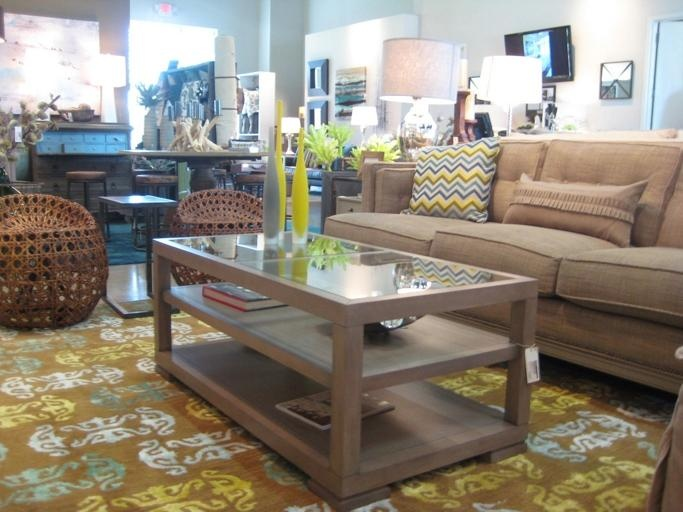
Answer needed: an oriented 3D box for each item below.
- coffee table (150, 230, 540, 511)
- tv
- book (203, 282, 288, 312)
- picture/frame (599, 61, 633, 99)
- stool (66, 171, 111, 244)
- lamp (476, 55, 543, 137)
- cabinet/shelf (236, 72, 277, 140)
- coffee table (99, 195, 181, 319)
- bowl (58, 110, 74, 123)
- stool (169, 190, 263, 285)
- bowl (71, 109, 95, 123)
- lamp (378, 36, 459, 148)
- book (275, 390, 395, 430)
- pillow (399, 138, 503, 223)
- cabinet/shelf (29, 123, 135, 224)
[{"bbox_3d":[0.010,0.015,1.662,0.864,0.496,1.403,-4,11,-32],"label":"coffee table"},{"bbox_3d":[2.470,-2.568,6.890,1.189,0.665,0.103,-15,21,-24],"label":"tv"},{"bbox_3d":[-0.410,0.160,2.086,0.181,0.029,0.175,-1,11,-43],"label":"book"},{"bbox_3d":[3.281,-2.076,6.386,0.093,0.457,0.427,-8,15,-32],"label":"picture/frame"},{"bbox_3d":[-3.059,-0.677,6.392,0.539,0.561,0.464,2,6,-9],"label":"stool"},{"bbox_3d":[1.278,-1.318,4.031,0.443,0.340,0.214,4,14,11],"label":"lamp"},{"bbox_3d":[-1.788,-3.140,11.325,0.492,1.471,0.755,3,11,19],"label":"cabinet/shelf"},{"bbox_3d":[-1.372,-0.005,3.606,0.453,0.706,0.906,-7,7,-32],"label":"coffee table"},{"bbox_3d":[-3.697,-1.878,7.196,0.259,0.098,0.293,-5,18,-29],"label":"bowl"},{"bbox_3d":[-0.780,-0.117,3.309,0.743,0.533,0.706,1,5,-8],"label":"stool"},{"bbox_3d":[-3.454,-1.878,7.214,0.276,0.131,0.260,1,7,0],"label":"bowl"},{"bbox_3d":[0.583,-1.170,4.140,0.608,0.771,0.610,11,12,40],"label":"lamp"},{"bbox_3d":[-0.023,0.467,1.613,0.198,0.013,0.215,-6,9,-40],"label":"book"},{"bbox_3d":[0.719,-0.485,3.406,0.320,0.461,0.656,-23,19,-29],"label":"pillow"},{"bbox_3d":[-3.544,-1.201,7.290,1.290,1.168,0.714,-7,32,-32],"label":"cabinet/shelf"}]
